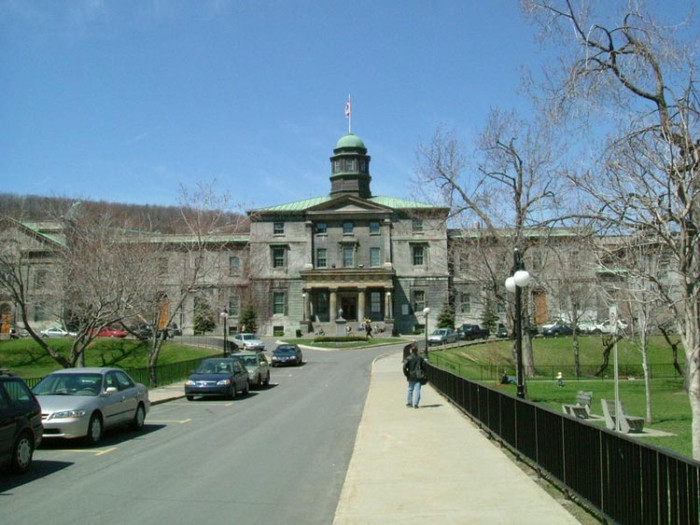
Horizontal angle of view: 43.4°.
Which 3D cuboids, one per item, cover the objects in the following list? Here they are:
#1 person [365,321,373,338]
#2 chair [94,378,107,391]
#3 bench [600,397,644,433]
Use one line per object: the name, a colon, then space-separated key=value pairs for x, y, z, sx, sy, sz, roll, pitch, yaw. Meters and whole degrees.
person: x=1.582 y=5.630 z=74.424 sx=0.581 sy=1.134 sz=1.872 roll=-4 pitch=6 yaw=0
chair: x=-8.002 y=3.857 z=28.219 sx=0.312 sy=0.621 sz=0.311 roll=1 pitch=-11 yaw=-15
bench: x=9.756 y=5.482 z=31.493 sx=1.215 sy=1.190 sz=2.219 roll=-1 pitch=0 yaw=8
